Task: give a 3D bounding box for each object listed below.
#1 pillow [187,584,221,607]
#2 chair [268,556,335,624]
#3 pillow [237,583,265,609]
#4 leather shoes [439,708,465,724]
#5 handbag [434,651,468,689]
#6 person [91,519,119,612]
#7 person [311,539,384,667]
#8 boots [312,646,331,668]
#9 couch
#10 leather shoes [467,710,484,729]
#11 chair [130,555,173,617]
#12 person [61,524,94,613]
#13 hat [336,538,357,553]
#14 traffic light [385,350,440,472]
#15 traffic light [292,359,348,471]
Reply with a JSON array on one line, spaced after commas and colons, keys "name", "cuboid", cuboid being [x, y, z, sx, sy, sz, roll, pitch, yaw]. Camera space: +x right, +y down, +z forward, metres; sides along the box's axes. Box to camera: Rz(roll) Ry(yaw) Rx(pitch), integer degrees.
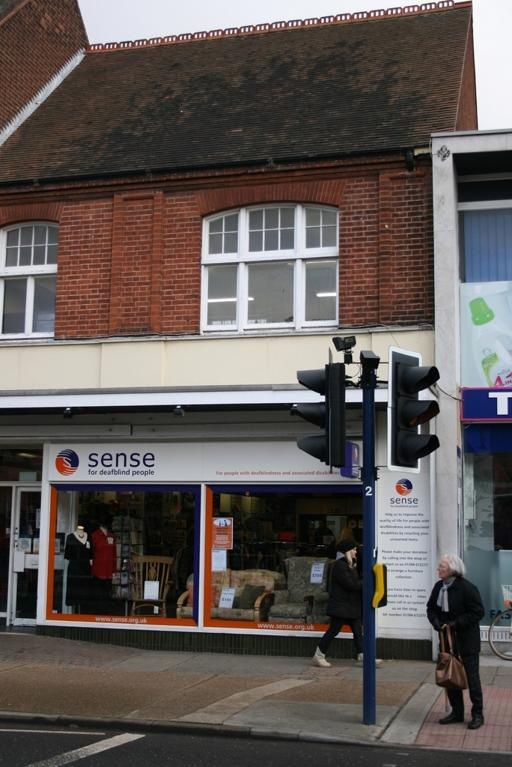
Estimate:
[{"name": "pillow", "cuboid": [-0.654, 2.782, 11.520, 0.319, 0.407, 0.304, -2, -6, 27]}, {"name": "chair", "cuboid": [0.565, 2.672, 11.068, 0.714, 0.915, 0.702, -3, -11, 22]}, {"name": "pillow", "cuboid": [-0.070, 2.765, 11.271, 0.284, 0.300, 0.107, 4, -22, 33]}, {"name": "leather shoes", "cuboid": [1.572, 2.678, 7.002, 0.235, 0.110, 0.081, 5, -8, -7]}, {"name": "handbag", "cuboid": [1.474, 2.193, 6.621, 0.220, 0.273, 0.231, -2, -10, 13]}, {"name": "person", "cuboid": [-2.102, 2.516, 12.022, 0.362, 1.266, 0.172, -4, -10, 22]}, {"name": "person", "cuboid": [0.943, 2.541, 10.079, 0.539, 1.433, 1.060, -1, -10, 6]}, {"name": "boots", "cuboid": [0.803, 3.138, 9.914, 0.115, 0.245, 0.317, 3, -9, -31]}, {"name": "couch", "cuboid": [-0.384, 2.810, 11.285, 1.134, 0.757, 0.609, -2, -14, 17]}, {"name": "leather shoes", "cuboid": [1.704, 2.633, 6.784, 0.064, 0.101, 0.195, -5, -22, 24]}, {"name": "chair", "cuboid": [-1.380, 2.759, 11.731, 0.661, 1.046, 0.713, -1, -21, 2]}, {"name": "person", "cuboid": [-2.454, 2.570, 12.097, 0.374, 1.163, 0.138, -3, -10, 17]}, {"name": "hat", "cuboid": [1.048, 1.890, 10.160, 0.194, 0.160, 0.154, -3, -6, 1]}, {"name": "traffic light", "cuboid": [1.194, 0.188, 6.621, 0.363, 0.958, 0.542, -2, -10, 12]}, {"name": "traffic light", "cuboid": [0.533, 0.233, 6.774, 0.396, 0.847, 0.609, 4, -10, -21]}]
